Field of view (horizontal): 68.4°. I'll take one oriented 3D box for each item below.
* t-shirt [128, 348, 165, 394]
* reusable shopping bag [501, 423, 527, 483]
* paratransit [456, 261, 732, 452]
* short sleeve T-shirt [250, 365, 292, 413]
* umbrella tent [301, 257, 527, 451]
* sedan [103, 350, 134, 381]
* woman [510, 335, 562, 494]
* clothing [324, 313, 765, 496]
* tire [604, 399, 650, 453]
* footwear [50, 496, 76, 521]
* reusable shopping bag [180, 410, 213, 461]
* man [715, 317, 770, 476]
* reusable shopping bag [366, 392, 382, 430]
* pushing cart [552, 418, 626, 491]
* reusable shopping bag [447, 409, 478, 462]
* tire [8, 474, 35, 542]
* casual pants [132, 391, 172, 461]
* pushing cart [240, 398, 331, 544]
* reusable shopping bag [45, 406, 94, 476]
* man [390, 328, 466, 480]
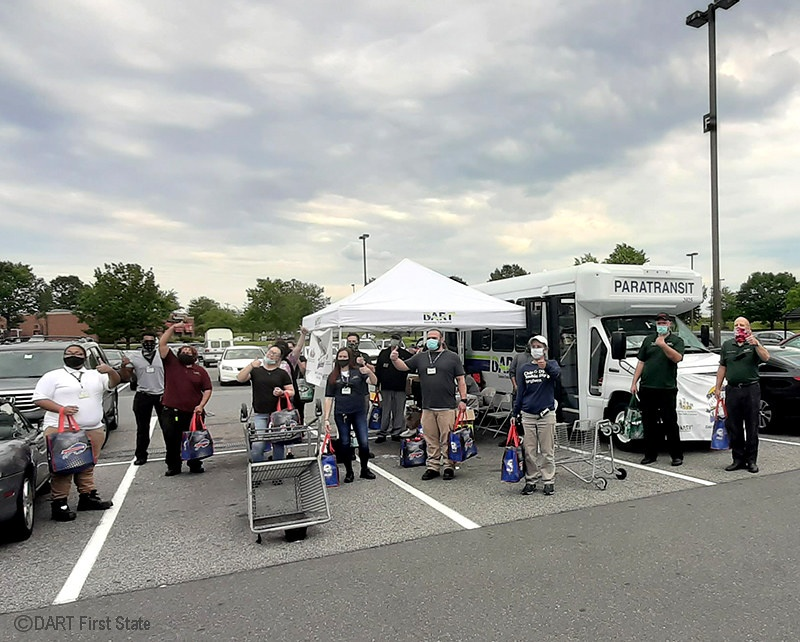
[{"bbox_3d":[-3.968,0.821,9.380,0.782,0.725,0.384,-3,-9,-22],"label":"t-shirt"},{"bbox_3d":[1.401,1.662,7.343,0.272,0.867,0.497,-1,3,11],"label":"reusable shopping bag"},{"bbox_3d":[3.055,0.630,9.275,1.513,1.497,3.489,-2,2,-23],"label":"paratransit"},{"bbox_3d":[-1.763,0.940,8.028,0.633,0.650,0.335,4,-11,-17],"label":"short sleeve T-shirt"},{"bbox_3d":[0.162,0.384,10.398,2.963,1.398,2.929,-3,0,-20],"label":"umbrella tent"},{"bbox_3d":[-5.623,0.868,11.710,0.689,0.546,1.309,0,-8,-13],"label":"sedan"},{"bbox_3d":[1.716,1.158,7.366,0.568,1.913,0.577,-1,3,11],"label":"woman"},{"bbox_3d":[2.251,0.973,8.665,5.614,2.522,2.234,-3,2,-12],"label":"clothing"},{"bbox_3d":[3.618,1.691,9.282,0.367,0.611,0.598,19,-19,-26],"label":"tire"},{"bbox_3d":[-3.811,2.133,6.630,0.422,0.170,0.139,-6,-8,43],"label":"footwear"},{"bbox_3d":[-2.890,1.649,8.312,0.409,0.684,0.335,-3,3,-20],"label":"reusable shopping bag"},{"bbox_3d":[4.643,0.969,8.006,0.613,2.045,0.661,0,3,27],"label":"man"},{"bbox_3d":[-0.398,1.562,10.382,0.320,0.710,0.108,8,19,-1],"label":"reusable shopping bag"},{"bbox_3d":[2.539,1.713,8.124,0.702,0.619,1.243,-2,6,-27],"label":"pushing cart"},{"bbox_3d":[0.851,1.557,7.989,0.318,0.721,0.487,0,3,28],"label":"reusable shopping bag"},{"bbox_3d":[-3.926,1.929,6.094,0.233,0.651,0.638,-4,3,-32],"label":"tire"},{"bbox_3d":[-3.958,1.661,9.368,0.535,1.105,0.347,-3,3,-38],"label":"casual pants"},{"bbox_3d":[-1.326,1.743,6.765,1.141,1.841,1.183,1,-12,-23],"label":"pushing cart"},{"bbox_3d":[-3.701,1.340,6.565,0.236,0.678,0.465,-8,-3,30],"label":"reusable shopping bag"},{"bbox_3d":[0.529,1.234,8.087,0.734,1.861,0.451,-2,3,6],"label":"man"}]
